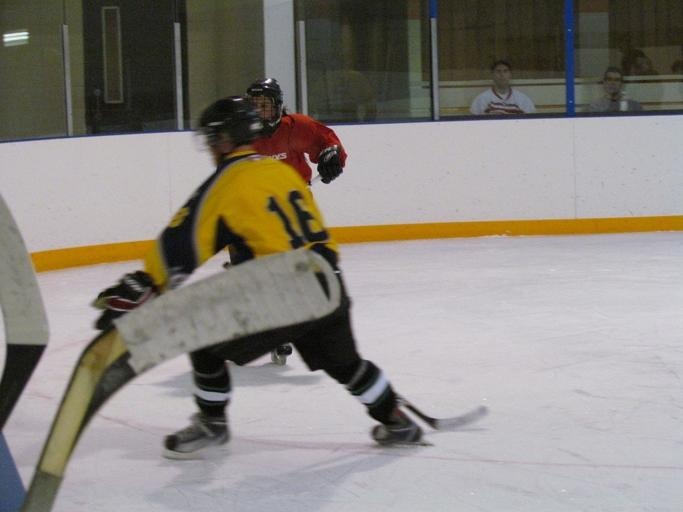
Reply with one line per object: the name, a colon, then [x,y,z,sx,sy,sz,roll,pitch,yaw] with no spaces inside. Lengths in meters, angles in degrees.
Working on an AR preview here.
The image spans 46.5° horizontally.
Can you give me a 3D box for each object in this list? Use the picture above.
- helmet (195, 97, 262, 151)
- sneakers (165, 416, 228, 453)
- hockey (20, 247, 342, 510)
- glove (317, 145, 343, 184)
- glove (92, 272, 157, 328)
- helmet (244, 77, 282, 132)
helmet: [-0.375,-0.432,2.666,0.254,0.215,0.201,3,9,25]
sneakers: [-0.497,0.616,2.821,0.235,0.108,0.103,-4,5,-22]
hockey: [-0.502,0.448,2.661,1.263,0.255,0.293,-29,-6,12]
glove: [-0.063,-0.443,3.878,0.116,0.182,0.051,-16,-33,25]
glove: [-0.685,0.145,2.511,0.218,0.147,0.076,-27,-18,11]
helmet: [-0.407,-0.742,3.910,0.210,0.242,0.262,3,-9,5]
